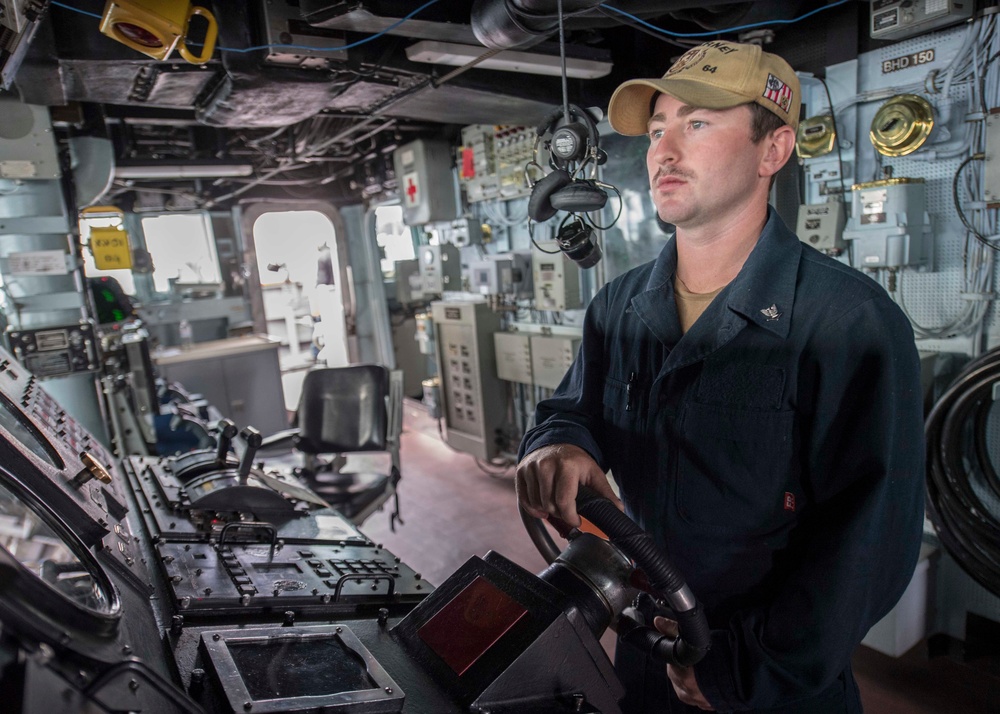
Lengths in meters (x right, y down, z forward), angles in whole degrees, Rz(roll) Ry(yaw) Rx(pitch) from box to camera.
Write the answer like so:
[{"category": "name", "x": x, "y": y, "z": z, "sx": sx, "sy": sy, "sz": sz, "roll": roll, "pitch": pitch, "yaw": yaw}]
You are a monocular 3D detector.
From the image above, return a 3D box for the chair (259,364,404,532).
[{"category": "chair", "x": -0.876, "y": 0.549, "z": 3.890, "sx": 0.762, "sy": 0.862, "sz": 0.771, "roll": -2, "pitch": 6, "yaw": 17}]

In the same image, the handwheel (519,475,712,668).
[{"category": "handwheel", "x": 0.314, "y": 0.484, "z": 1.540, "sx": 0.102, "sy": 0.449, "sz": 0.349, "roll": -50, "pitch": 3, "yaw": -19}]

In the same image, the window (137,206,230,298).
[{"category": "window", "x": -3.487, "y": -1.158, "z": 7.843, "sx": 0.102, "sy": 0.851, "sz": 1.066, "roll": -3, "pitch": 6, "yaw": 44}]

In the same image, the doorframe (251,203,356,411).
[{"category": "doorframe", "x": -2.356, "y": -0.702, "z": 8.699, "sx": 1.177, "sy": 2.510, "sz": 0.136, "roll": -2, "pitch": 41, "yaw": -7}]
